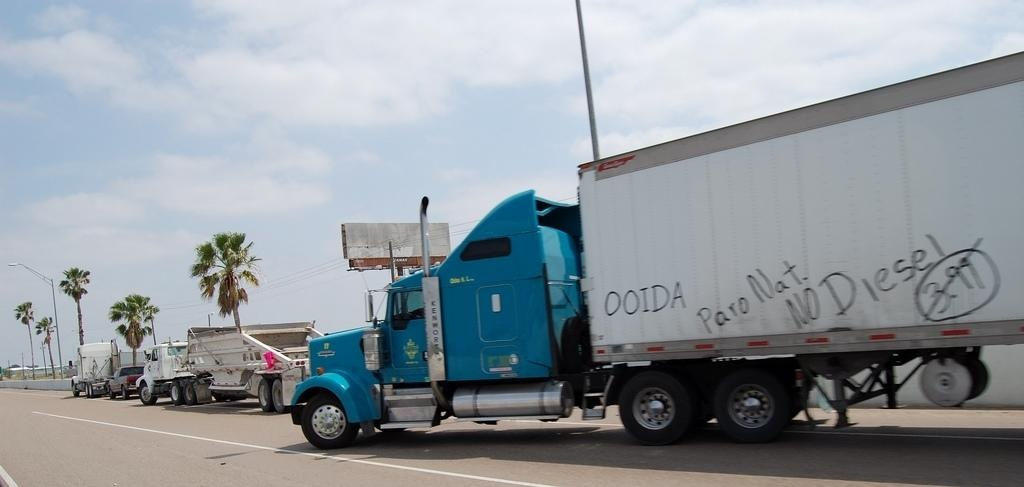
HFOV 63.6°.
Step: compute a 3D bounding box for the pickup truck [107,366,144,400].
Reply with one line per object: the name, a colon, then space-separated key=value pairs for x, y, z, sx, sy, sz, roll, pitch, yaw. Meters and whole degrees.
pickup truck: x=-22.458 y=8.157 z=48.492 sx=2.011 sy=1.300 sz=4.210 roll=4 pitch=-6 yaw=-38
